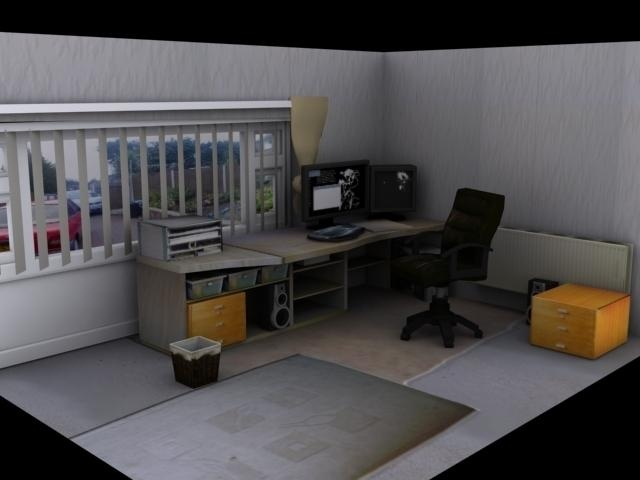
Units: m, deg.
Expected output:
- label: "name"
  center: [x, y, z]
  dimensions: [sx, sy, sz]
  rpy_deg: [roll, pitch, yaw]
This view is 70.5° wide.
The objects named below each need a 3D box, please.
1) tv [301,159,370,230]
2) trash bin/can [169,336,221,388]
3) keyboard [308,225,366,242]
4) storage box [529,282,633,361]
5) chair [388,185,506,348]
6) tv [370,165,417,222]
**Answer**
- label: "tv"
  center: [0.157, -0.543, 5.226]
  dimensions: [0.772, 0.652, 0.279]
  rpy_deg: [-13, 16, -43]
- label: "trash bin/can"
  center: [-1.027, 0.995, 3.919]
  dimensions: [0.417, 0.399, 0.392]
  rpy_deg: [4, 7, 41]
- label: "keyboard"
  center: [0.190, -0.065, 5.014]
  dimensions: [0.613, 0.188, 0.321]
  rpy_deg: [0, -5, -34]
- label: "storage box"
  center: [2.538, 0.685, 4.423]
  dimensions: [0.734, 0.527, 0.702]
  rpy_deg: [-5, 7, -42]
- label: "chair"
  center: [1.324, 0.252, 4.628]
  dimensions: [1.095, 1.609, 0.544]
  rpy_deg: [-3, -4, 11]
- label: "tv"
  center: [0.891, -0.612, 5.627]
  dimensions: [0.728, 0.841, 0.327]
  rpy_deg: [-1, 4, -3]
